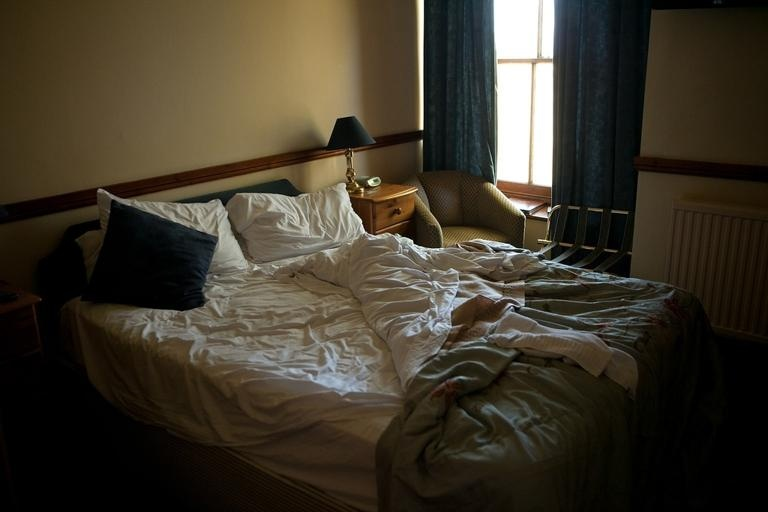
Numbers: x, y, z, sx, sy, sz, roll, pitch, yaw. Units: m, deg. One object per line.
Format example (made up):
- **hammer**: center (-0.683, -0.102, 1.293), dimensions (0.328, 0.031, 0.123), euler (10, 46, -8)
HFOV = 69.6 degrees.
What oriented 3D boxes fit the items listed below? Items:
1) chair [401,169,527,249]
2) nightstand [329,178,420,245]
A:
- **chair**: center (0.652, -0.403, 4.793), dimensions (0.775, 0.818, 0.757), euler (-12, 22, -23)
- **nightstand**: center (-0.027, -0.436, 4.617), dimensions (0.393, 0.530, 0.542), euler (10, 25, 28)
